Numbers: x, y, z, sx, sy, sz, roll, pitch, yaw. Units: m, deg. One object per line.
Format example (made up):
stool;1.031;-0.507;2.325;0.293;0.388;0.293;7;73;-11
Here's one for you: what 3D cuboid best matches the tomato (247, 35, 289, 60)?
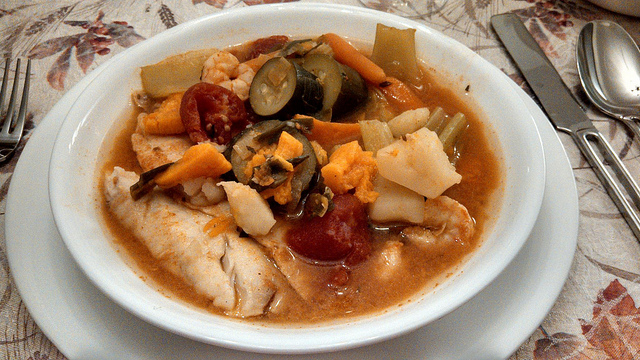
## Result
tomato;-0.575;-1.469;6.037;0.373;0.082;0.229;-32;58;-11
